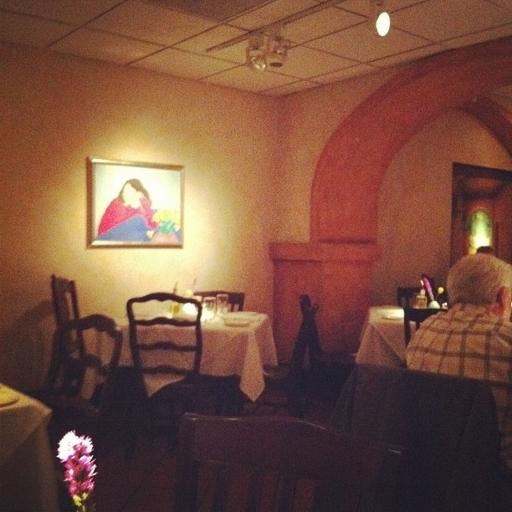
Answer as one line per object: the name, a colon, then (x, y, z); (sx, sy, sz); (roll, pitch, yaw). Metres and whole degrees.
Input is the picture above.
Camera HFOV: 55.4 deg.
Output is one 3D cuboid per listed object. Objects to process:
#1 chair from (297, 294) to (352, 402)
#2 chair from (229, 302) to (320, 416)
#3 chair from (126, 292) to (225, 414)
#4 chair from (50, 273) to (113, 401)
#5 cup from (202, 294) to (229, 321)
chair: (0.402, 0.572, 3.397); (0.453, 0.877, 0.569); (0, 1, 4)
chair: (0.029, 0.843, 3.612); (0.475, 0.510, 0.809); (-9, 29, -8)
chair: (-0.527, 0.513, 2.985); (0.424, 0.924, 0.515); (1, 20, -8)
chair: (-1.081, 0.527, 3.001); (0.418, 0.749, 0.430); (1, -2, -39)
cup: (-0.287, 0.365, 3.415); (0.182, 0.216, 0.117); (0, -1, 6)
